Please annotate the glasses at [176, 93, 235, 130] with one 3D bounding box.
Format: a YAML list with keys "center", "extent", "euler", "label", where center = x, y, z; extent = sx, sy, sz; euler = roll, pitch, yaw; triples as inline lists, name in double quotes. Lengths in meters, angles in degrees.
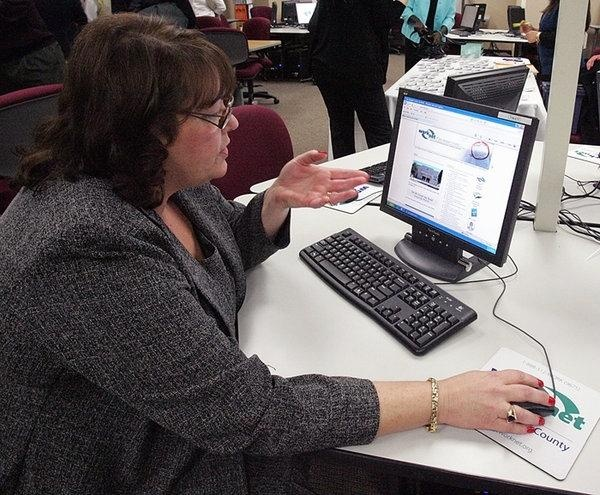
- center: [-0.200, -0.271, 0.959]
  extent: [0.078, 0.025, 0.083]
  euler: [-1, 36, 11]
  label: "glasses"

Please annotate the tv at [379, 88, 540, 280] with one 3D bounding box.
- center: [0.422, -0.151, 1.255]
  extent: [0.168, 0.480, 0.432]
  euler: [-24, 47, -33]
  label: "tv"

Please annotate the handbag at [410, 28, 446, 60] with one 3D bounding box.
- center: [1.137, -1.809, 4.265]
  extent: [0.343, 0.154, 0.223]
  euler: [18, 19, -32]
  label: "handbag"

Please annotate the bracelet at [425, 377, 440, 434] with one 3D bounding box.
- center: [0.262, 0.308, 0.910]
  extent: [0.022, 0.073, 0.059]
  euler: [-3, -3, 6]
  label: "bracelet"

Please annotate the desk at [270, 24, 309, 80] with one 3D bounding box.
- center: [-0.207, -3.185, 7.506]
  extent: [0.529, 0.719, 1.037]
  euler: [0, 34, 1]
  label: "desk"

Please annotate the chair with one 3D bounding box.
- center: [-0.583, -0.401, 1.906]
  extent: [0.951, 0.952, 0.656]
  euler: [-21, 30, -40]
  label: "chair"
